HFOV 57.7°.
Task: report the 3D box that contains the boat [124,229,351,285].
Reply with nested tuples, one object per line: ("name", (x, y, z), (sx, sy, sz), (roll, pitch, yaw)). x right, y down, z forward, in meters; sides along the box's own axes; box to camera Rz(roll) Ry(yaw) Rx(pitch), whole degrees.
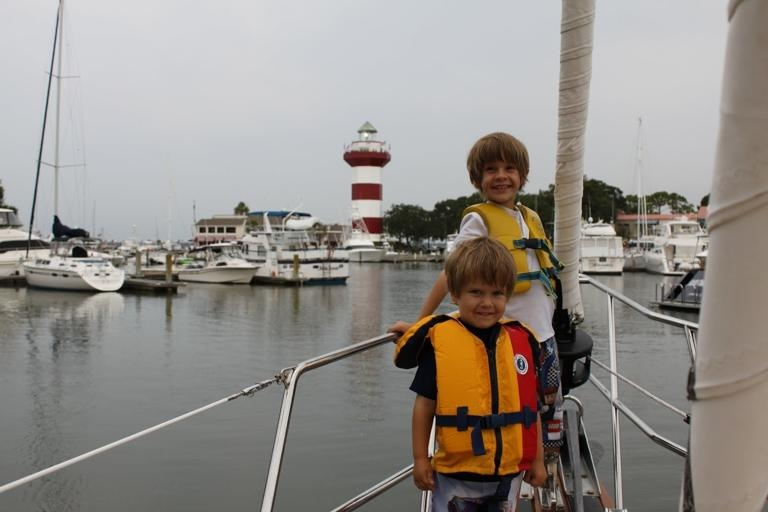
("boat", (-5.919, 0.233, 35.865), (8.115, 2.404, 2.865), (0, 0, 1))

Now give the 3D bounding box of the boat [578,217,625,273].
("boat", (14.324, -0.630, 44.268), (2.428, 3.464, 4.538), (0, 0, 17))
